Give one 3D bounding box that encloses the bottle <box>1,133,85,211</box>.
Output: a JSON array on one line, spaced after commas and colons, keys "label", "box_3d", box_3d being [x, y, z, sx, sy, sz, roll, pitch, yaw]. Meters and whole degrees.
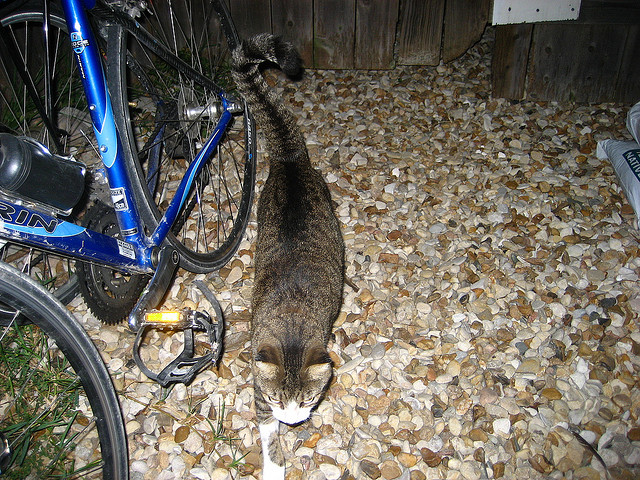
[{"label": "bottle", "box_3d": [-1.127, -0.272, 1.998, 0.152, 0.172, 0.384, -20, -12, 19]}]
